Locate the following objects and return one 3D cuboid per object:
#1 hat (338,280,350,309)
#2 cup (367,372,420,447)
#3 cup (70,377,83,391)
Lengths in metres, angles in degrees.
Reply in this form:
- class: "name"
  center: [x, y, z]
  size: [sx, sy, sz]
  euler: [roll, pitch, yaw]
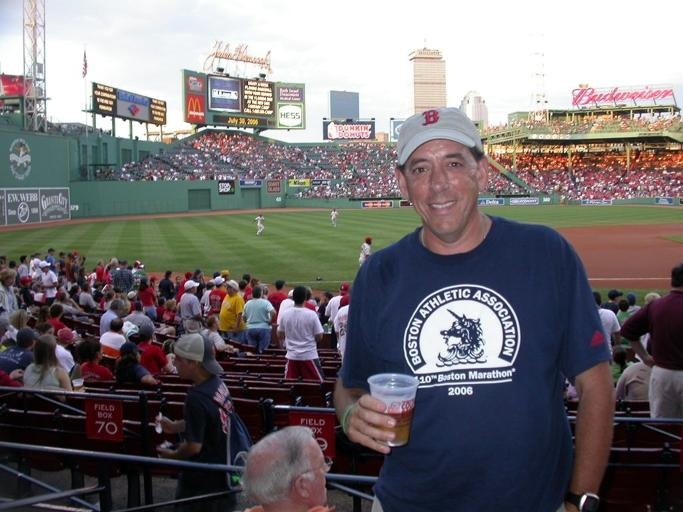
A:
- class: "hat"
  center: [0.037, 0.730, 13.631]
  size: [0.368, 0.321, 0.576]
  euler: [3, 9, 2]
- class: "cup"
  center: [0.230, 0.897, 4.411]
  size: [0.387, 0.403, 0.386]
  euler: [1, 3, 0]
- class: "cup"
  center: [-3.156, 1.523, 8.563]
  size: [0.130, 0.119, 0.120]
  euler: [0, -1, 0]
